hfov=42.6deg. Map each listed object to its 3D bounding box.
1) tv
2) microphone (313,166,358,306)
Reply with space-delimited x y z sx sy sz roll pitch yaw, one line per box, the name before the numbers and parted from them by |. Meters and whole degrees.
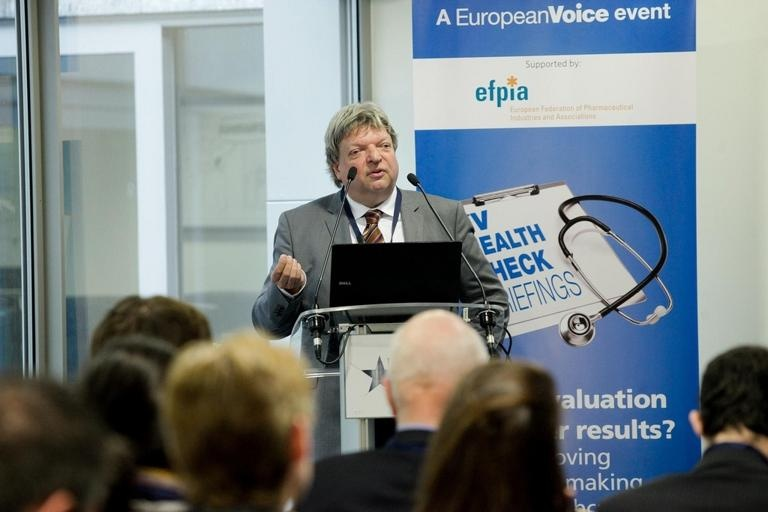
tv | 0.056 0.085 4.632 0.608 0.302 0.060 0 2 -3
microphone | -0.247 -0.088 5.187 0.087 0.835 0.118 5 27 -35
